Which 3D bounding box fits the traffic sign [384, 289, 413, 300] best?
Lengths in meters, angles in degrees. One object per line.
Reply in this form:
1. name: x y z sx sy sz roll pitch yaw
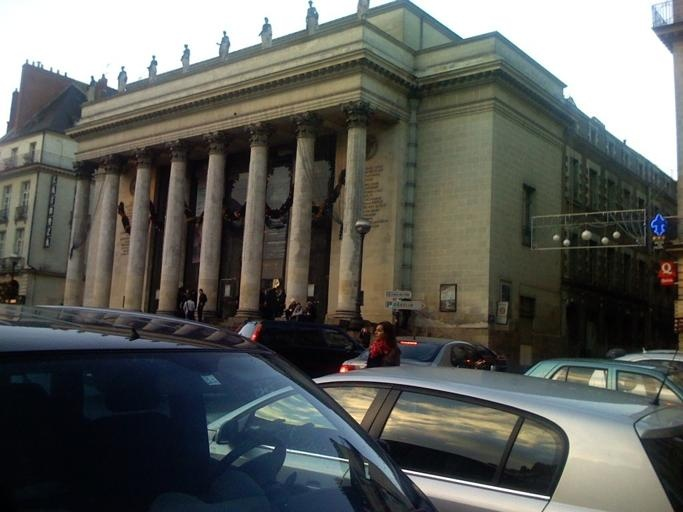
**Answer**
1. traffic sign: 2.191 1.442 23.838 0.732 0.172 0.689 2 -9 -7
